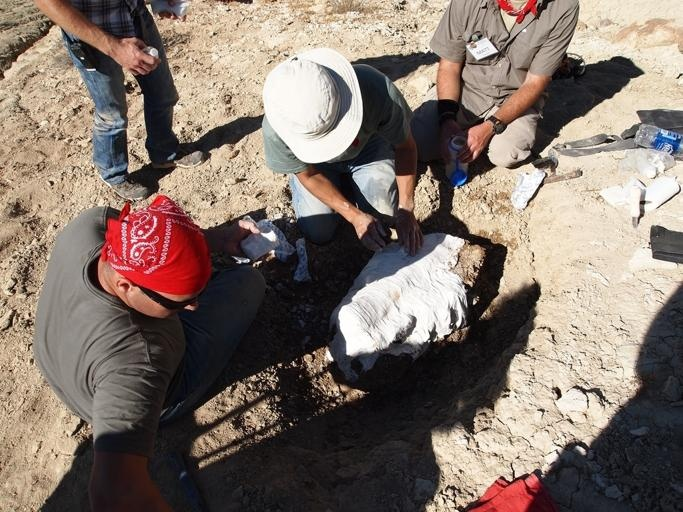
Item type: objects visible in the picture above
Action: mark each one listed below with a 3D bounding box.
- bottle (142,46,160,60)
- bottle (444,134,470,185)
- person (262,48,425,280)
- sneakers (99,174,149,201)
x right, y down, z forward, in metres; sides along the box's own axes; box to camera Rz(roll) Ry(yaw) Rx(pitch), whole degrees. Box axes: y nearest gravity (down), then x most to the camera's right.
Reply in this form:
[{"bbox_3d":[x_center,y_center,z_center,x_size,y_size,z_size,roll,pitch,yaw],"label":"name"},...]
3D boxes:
[{"bbox_3d":[-1.365,-1.474,4.159,0.098,0.105,0.069,21,104,4],"label":"bottle"},{"bbox_3d":[0.930,-0.780,4.695,0.169,0.324,0.239,-3,59,15],"label":"bottle"},{"bbox_3d":[0.002,-0.579,4.248,1.059,1.933,1.581,-6,77,11],"label":"person"},{"bbox_3d":[-1.845,-0.555,4.843,0.444,0.197,0.180,12,71,-6],"label":"sneakers"}]
